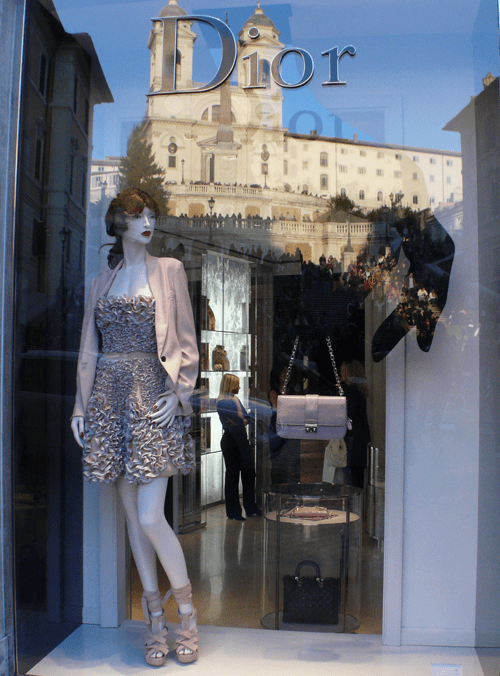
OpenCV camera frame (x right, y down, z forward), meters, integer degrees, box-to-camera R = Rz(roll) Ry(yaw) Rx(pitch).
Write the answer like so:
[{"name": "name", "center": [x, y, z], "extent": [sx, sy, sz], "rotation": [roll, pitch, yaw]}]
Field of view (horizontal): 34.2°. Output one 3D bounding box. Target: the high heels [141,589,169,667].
[{"name": "high heels", "center": [-0.380, 1.201, 3.361], "extent": [0.096, 0.304, 0.119], "rotation": [-2, -41, -1]}]

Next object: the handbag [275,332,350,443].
[{"name": "handbag", "center": [0.288, 0.230, 3.770], "extent": [0.338, 0.496, 0.162], "rotation": [-1, -6, 4]}]

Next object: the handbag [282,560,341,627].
[{"name": "handbag", "center": [0.290, 1.186, 3.721], "extent": [0.284, 0.299, 0.068], "rotation": [0, 8, 6]}]

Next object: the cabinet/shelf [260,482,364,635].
[{"name": "cabinet/shelf", "center": [0.310, 0.997, 3.995], "extent": [0.636, 0.907, 0.575], "rotation": [1, -1, 8]}]

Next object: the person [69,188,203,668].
[{"name": "person", "center": [-0.482, 0.358, 3.436], "extent": [0.531, 2.000, 0.324], "rotation": [-1, -6, 4]}]
